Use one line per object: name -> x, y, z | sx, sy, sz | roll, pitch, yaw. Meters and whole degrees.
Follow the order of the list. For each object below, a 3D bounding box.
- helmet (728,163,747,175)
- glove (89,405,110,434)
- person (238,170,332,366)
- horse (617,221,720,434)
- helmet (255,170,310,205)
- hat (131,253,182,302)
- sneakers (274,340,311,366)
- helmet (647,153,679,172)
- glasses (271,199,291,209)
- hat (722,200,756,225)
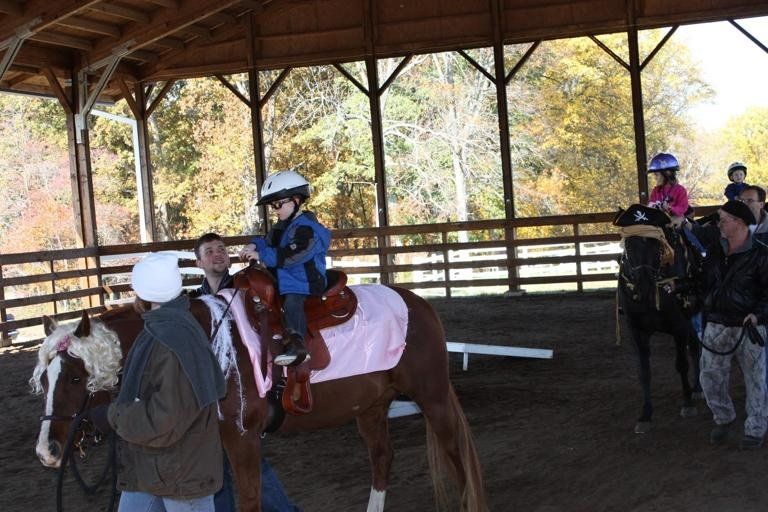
helmet -> 5.065, -1.274, 9.884 | 0.186, 0.278, 0.205 | 2, 7, 6
glove -> -1.999, 1.154, 4.885 | 0.180, 0.140, 0.187 | 3, 0, -10
person -> -0.831, 0.059, 5.885 | 0.749, 1.583, 0.661 | -11, 19, -33
horse -> 3.390, 0.806, 8.176 | 0.934, 2.185, 2.888 | -5, -8, 29
helmet -> -0.825, -0.556, 5.788 | 0.367, 0.204, 0.265 | 0, -8, -27
hat -> -1.585, 0.128, 4.927 | 0.371, 0.344, 0.294 | 17, 21, 33
sneakers -> -0.696, 0.756, 5.372 | 0.274, 0.146, 0.283 | -6, 48, -4
helmet -> 3.269, -1.081, 8.018 | 0.297, 0.197, 0.227 | 5, 0, -7
glasses -> -0.864, -0.437, 5.745 | 0.086, 0.036, 0.104 | -20, 0, 42
hat -> 3.500, -0.438, 6.794 | 0.281, 0.116, 0.212 | 31, 5, -4
